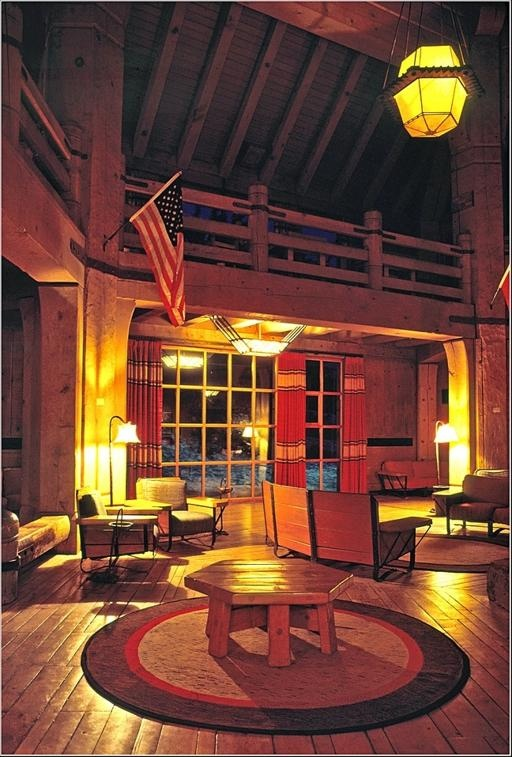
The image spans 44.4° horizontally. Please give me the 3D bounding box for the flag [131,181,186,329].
[{"bbox_3d":[-0.828,-1.212,5.563,0.299,1.364,0.890,-1,-5,14],"label":"flag"}]

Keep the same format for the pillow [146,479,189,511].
[{"bbox_3d":[-0.985,1.239,7.056,0.517,0.492,0.305,1,1,-2],"label":"pillow"}]

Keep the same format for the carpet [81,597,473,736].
[{"bbox_3d":[0.124,1.489,3.349,2.082,0.059,1.754,1,-5,-9],"label":"carpet"}]

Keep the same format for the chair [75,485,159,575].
[{"bbox_3d":[-1.179,1.309,5.370,0.585,0.665,0.980,0,-4,-8],"label":"chair"}]

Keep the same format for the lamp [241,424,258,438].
[{"bbox_3d":[-0.123,0.857,10.175,0.214,0.225,0.222,0,-10,4],"label":"lamp"}]

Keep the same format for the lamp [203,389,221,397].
[{"bbox_3d":[-0.675,0.234,9.737,0.209,0.112,0.426,1,-5,-3],"label":"lamp"}]

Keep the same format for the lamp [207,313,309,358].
[{"bbox_3d":[0.021,-0.453,7.782,0.718,0.288,0.745,2,-4,16],"label":"lamp"}]

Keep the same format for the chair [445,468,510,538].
[{"bbox_3d":[2.509,1.452,7.125,0.678,0.677,0.507,-1,-5,23],"label":"chair"}]
